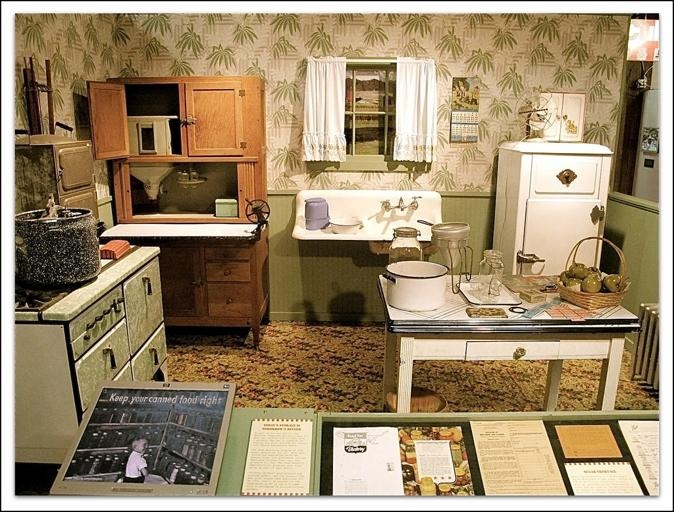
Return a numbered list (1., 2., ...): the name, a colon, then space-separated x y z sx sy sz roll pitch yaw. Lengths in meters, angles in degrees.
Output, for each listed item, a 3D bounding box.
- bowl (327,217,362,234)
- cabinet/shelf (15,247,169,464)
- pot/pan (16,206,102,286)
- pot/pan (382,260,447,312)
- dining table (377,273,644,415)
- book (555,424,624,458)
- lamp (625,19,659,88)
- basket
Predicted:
1. bowl: 0.078 -0.304 4.927 0.347 0.126 0.422 -2 14 0
2. cabinet/shelf: -1.576 0.610 3.258 0.495 0.940 1.345 -2 14 -2
3. pot/pan: -1.526 -0.080 2.827 0.426 0.418 0.454 5 6 24
4. pot/pan: 0.473 0.182 3.027 0.385 0.177 0.300 0 11 -1
5. dining table: 1.039 0.808 3.341 1.463 1.160 0.957 -1 15 -2
6. book: 0.941 0.701 1.853 0.217 0.007 0.299 -12 0 25
7. lamp: 3.026 -2.025 4.883 0.296 0.681 0.401 7 18 31
8. basket: 1.581 0.068 3.017 0.384 0.385 0.370 -17 24 -31
